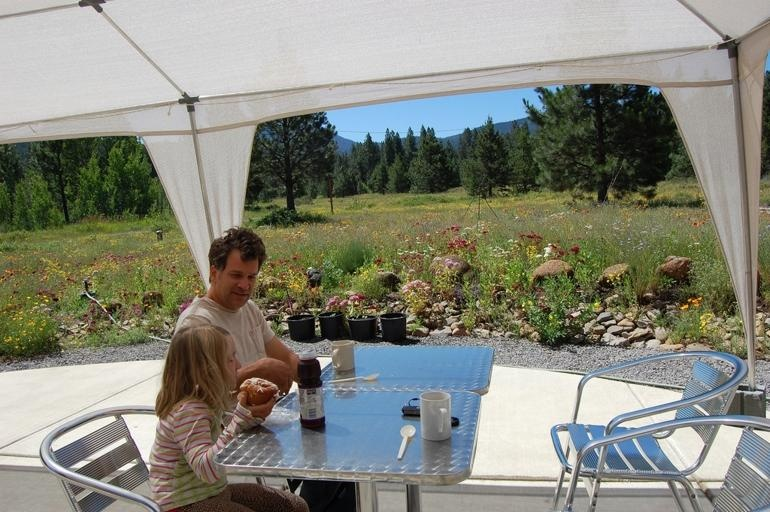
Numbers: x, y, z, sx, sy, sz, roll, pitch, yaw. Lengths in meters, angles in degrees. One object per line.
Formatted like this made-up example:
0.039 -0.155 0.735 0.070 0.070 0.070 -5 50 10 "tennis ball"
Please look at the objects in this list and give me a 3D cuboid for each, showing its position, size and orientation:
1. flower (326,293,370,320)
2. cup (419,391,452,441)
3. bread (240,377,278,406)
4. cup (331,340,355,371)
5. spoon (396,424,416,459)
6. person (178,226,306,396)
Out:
-0.481 0.672 7.844 0.356 0.229 0.422 0 5 -6 "flower"
0.273 0.842 3.000 0.142 0.224 0.238 -3 7 -17 "cup"
-0.683 0.731 3.137 0.146 0.097 0.147 1 6 1 "bread"
-0.272 0.662 3.931 0.117 0.158 0.198 1 6 11 "cup"
0.111 0.940 2.973 0.086 0.109 0.229 -4 4 9 "spoon"
-0.984 0.428 3.873 0.720 1.162 0.780 -6 -2 3 "person"
